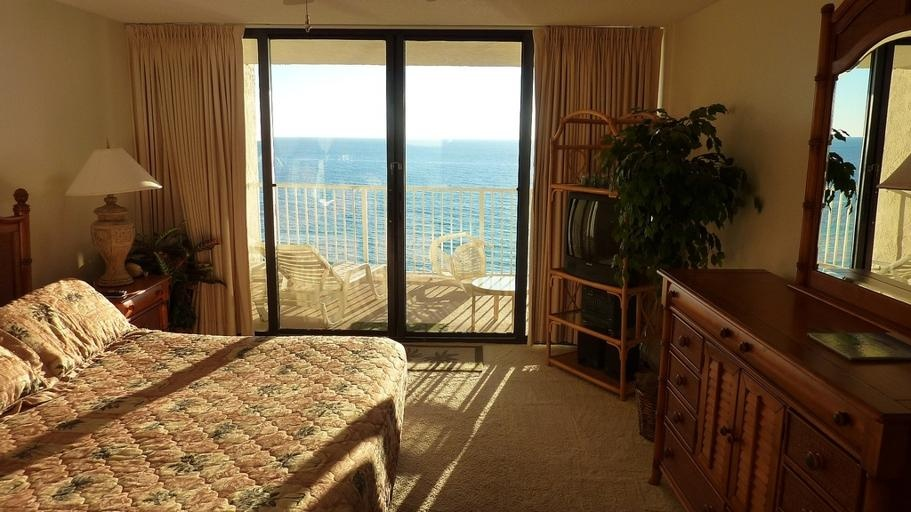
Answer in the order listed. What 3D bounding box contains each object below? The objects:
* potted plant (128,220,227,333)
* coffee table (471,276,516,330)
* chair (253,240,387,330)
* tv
[{"bbox_3d":[-2.680,0.184,5.806,1.054,0.960,1.035,-1,8,-6],"label":"potted plant"},{"bbox_3d":[0.390,0.399,6.052,0.440,0.294,0.430,1,5,7],"label":"coffee table"},{"bbox_3d":[-1.274,0.327,5.982,0.800,0.720,1.301,1,8,13],"label":"chair"},{"bbox_3d":[1.379,-0.177,5.119,0.518,0.751,0.869,-5,10,-20],"label":"tv"}]
